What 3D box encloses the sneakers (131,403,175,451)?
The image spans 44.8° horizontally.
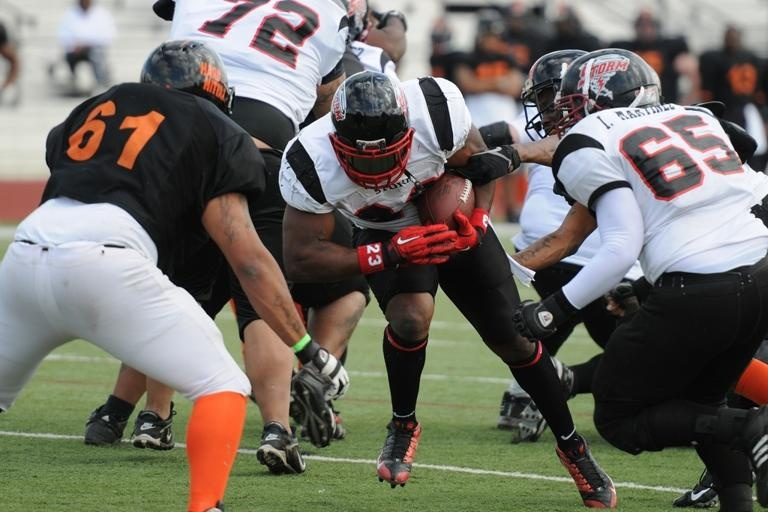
[{"bbox_3d":[-1.281,0.920,5.121,0.229,0.257,0.538,11,-9,-5],"label":"sneakers"}]

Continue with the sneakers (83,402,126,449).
[{"bbox_3d":[-1.530,0.918,5.071,0.190,0.165,0.402,21,5,-6],"label":"sneakers"}]

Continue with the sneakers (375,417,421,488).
[{"bbox_3d":[0.083,0.983,4.704,0.138,0.202,0.391,8,32,6],"label":"sneakers"}]

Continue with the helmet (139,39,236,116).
[{"bbox_3d":[-0.915,-0.828,4.420,0.372,0.306,0.291,26,-6,-32],"label":"helmet"}]

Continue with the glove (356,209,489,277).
[{"bbox_3d":[0.156,-0.059,4.406,0.575,0.298,0.147,2,7,-7],"label":"glove"}]

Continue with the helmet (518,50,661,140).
[{"bbox_3d":[1.022,-0.848,4.716,0.648,0.496,0.532,2,5,24],"label":"helmet"}]

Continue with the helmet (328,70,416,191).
[{"bbox_3d":[-0.068,-0.645,4.411,0.396,0.434,0.555,-9,49,-7],"label":"helmet"}]

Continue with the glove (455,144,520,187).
[{"bbox_3d":[0.530,-0.454,4.705,0.356,0.161,0.204,-14,10,15],"label":"glove"}]

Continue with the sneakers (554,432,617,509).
[{"bbox_3d":[0.977,1.044,4.614,0.433,0.154,0.171,60,3,33],"label":"sneakers"}]

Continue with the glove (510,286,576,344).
[{"bbox_3d":[0.737,0.264,4.286,0.262,0.180,0.391,-3,8,29],"label":"glove"}]
